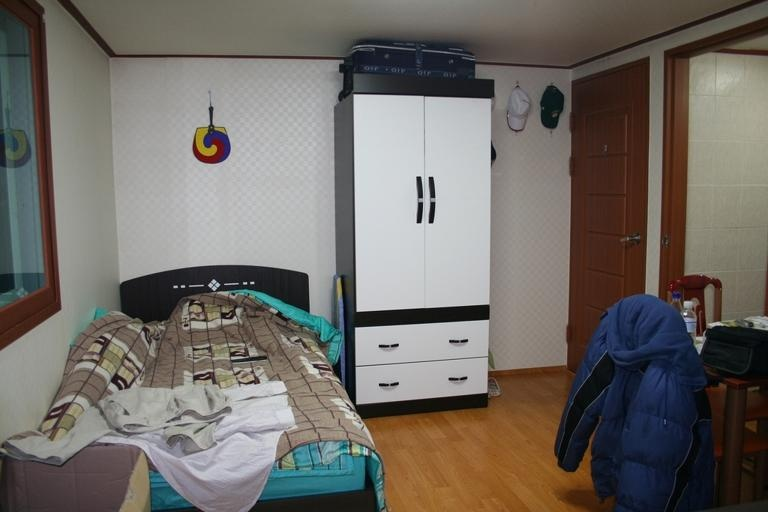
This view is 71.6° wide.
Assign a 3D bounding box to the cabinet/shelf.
[{"bbox_3d":[0.319,-0.068,4.389,1.229,2.757,0.483,-3,14,-10],"label":"cabinet/shelf"}]

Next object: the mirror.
[{"bbox_3d":[2.359,-0.682,4.138,0.365,2.042,0.638,-4,14,-13],"label":"mirror"}]

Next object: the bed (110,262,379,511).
[{"bbox_3d":[-1.264,0.973,3.907,1.526,1.189,1.656,-1,9,-15],"label":"bed"}]

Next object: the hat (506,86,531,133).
[{"bbox_3d":[1.255,-1.393,5.017,0.223,0.452,0.168,1,14,7],"label":"hat"}]

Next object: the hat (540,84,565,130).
[{"bbox_3d":[1.580,-1.407,5.083,0.242,0.397,0.131,-6,9,-40],"label":"hat"}]
